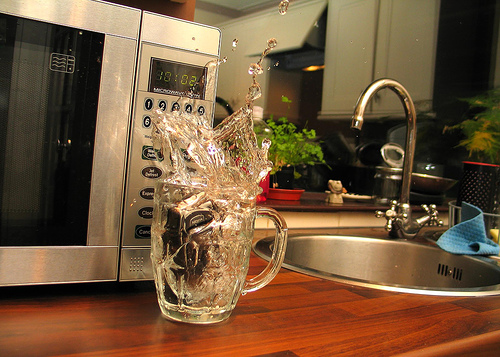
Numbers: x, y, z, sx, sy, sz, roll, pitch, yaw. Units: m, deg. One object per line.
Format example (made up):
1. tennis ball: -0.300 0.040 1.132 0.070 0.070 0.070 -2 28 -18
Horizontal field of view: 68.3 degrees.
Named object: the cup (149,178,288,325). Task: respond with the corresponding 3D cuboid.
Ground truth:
1. cup: -0.076 0.094 0.503 0.192 0.170 0.128 6 1 -26
